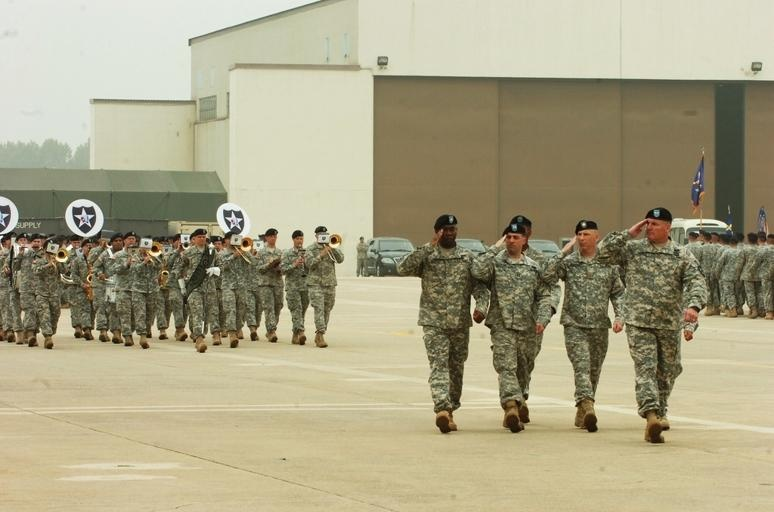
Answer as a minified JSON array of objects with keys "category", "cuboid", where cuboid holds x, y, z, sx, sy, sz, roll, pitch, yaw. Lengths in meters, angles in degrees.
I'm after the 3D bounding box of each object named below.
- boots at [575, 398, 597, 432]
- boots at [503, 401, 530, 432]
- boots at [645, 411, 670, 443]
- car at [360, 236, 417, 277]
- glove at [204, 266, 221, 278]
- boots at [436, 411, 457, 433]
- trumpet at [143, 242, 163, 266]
[{"category":"boots","cuboid":[3.956,3.154,33.184,0.302,0.527,0.739,-3,-43,2]},{"category":"boots","cuboid":[2.481,3.174,33.344,0.311,0.527,0.809,0,3,16]},{"category":"boots","cuboid":[5.353,3.368,32.765,0.311,0.545,0.867,0,-1,15]},{"category":"car","cuboid":[0.091,-0.045,70.932,1.432,0.961,2.166,0,-4,-16]},{"category":"glove","cuboid":[-4.424,0.372,42.321,0.249,0.235,0.296,8,20,-37]},{"category":"boots","cuboid":[1.143,3.270,32.997,0.267,0.239,0.563,0,-33,1]},{"category":"trumpet","cuboid":[-6.014,-0.092,42.873,0.398,0.377,0.624,-30,-5,-22]}]
